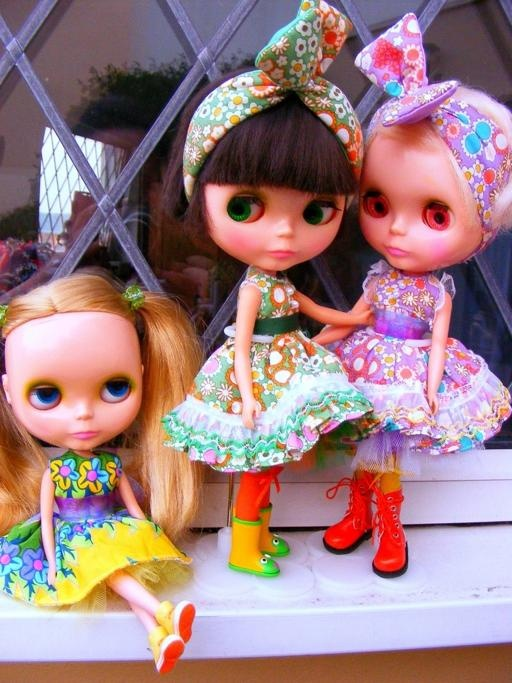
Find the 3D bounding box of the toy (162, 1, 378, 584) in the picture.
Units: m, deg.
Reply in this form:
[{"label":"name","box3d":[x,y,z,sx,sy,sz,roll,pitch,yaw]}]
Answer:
[{"label":"toy","box3d":[0.045,-0.041,1.296,0.468,1.145,0.358,2,13,-8]}]
